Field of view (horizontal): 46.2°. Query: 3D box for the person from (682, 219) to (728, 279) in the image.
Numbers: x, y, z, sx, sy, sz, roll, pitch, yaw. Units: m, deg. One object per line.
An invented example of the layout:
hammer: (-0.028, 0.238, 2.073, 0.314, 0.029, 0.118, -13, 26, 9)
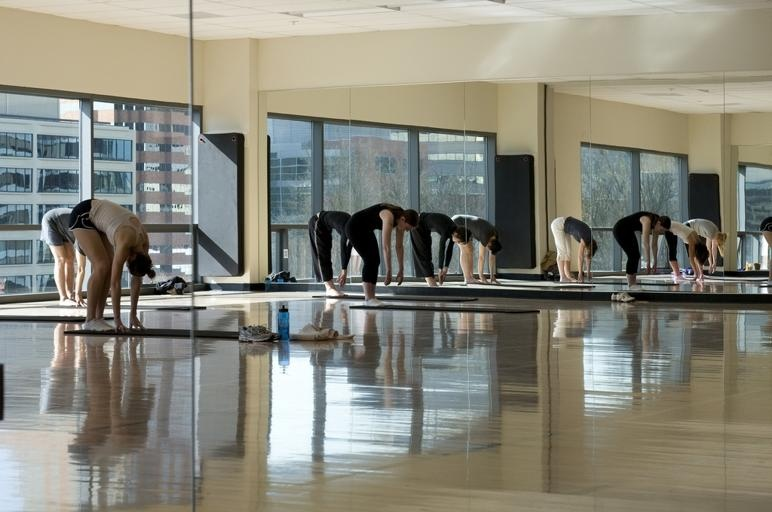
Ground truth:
person: (4.192, -0.180, 12.047, 0.791, 0.451, 0.266, 15, 12, -12)

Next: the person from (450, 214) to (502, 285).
person: (1.280, -0.086, 13.352, 0.401, 0.890, 1.358, 3, -2, -33)

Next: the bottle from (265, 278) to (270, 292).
bottle: (-1.853, 0.447, 14.240, 0.083, 0.195, 0.228, -3, 8, -14)

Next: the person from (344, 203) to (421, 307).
person: (-0.063, -0.077, 11.653, 0.842, 1.269, 1.566, -1, 8, -2)

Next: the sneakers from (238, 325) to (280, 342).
sneakers: (-1.282, 0.769, 8.976, 0.407, 0.125, 0.299, 2, 9, 16)

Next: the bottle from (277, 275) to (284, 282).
bottle: (-1.647, 0.354, 14.187, 0.125, 0.073, 0.091, 0, 12, 4)

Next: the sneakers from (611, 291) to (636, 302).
sneakers: (3.165, 0.535, 12.073, 0.220, 0.100, 0.151, -1, 2, -19)
